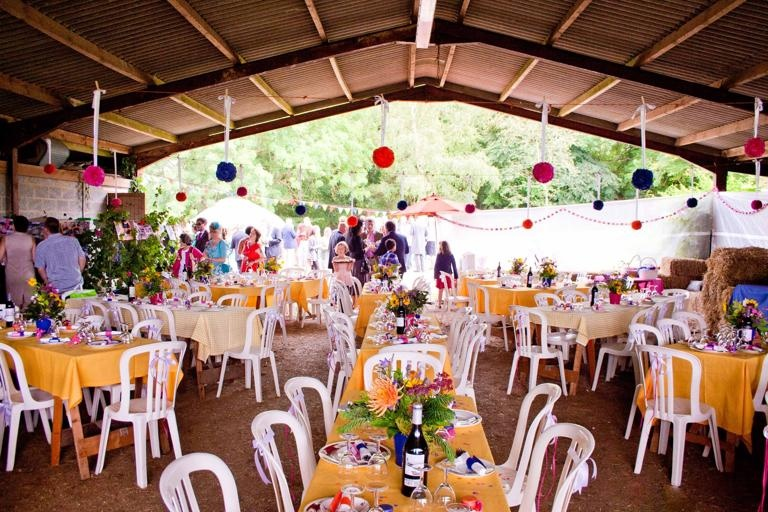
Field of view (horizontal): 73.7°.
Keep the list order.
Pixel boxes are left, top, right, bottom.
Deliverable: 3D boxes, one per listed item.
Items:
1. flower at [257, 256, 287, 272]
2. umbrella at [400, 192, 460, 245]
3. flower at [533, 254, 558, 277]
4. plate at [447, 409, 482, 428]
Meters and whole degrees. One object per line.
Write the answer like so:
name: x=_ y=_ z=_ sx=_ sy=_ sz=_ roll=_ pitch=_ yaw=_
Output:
flower: x=-2.306 y=0.179 z=10.497 sx=0.446 sy=0.355 sz=0.434 roll=2 pitch=6 yaw=9
umbrella: x=1.357 y=-0.899 z=13.505 sx=1.517 sy=1.172 sz=1.516 roll=6 pitch=13 yaw=31
flower: x=3.505 y=0.207 z=11.197 sx=0.629 sy=0.473 sz=0.606 roll=-1 pitch=0 yaw=-9
plate: x=0.620 y=1.263 z=4.011 sx=0.233 sy=0.108 sz=0.229 roll=3 pitch=-2 yaw=-6
